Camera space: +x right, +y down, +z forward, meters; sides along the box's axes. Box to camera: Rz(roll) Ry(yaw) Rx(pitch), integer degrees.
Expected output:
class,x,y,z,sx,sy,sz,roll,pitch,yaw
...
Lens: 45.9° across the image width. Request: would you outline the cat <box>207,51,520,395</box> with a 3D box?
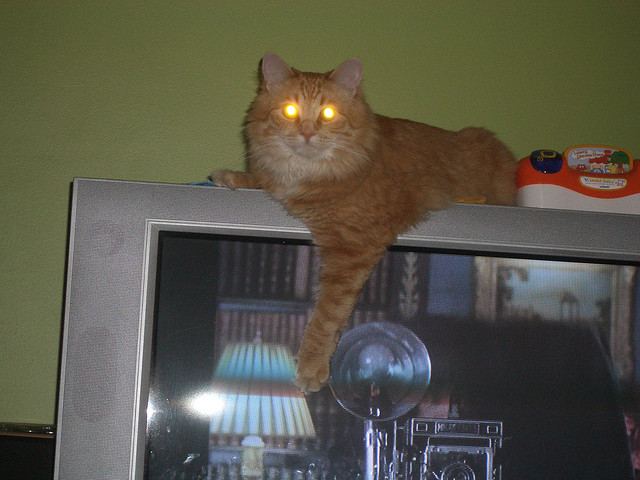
class,x,y,z,sx,sy,sz,roll,pitch,yaw
cat,0.073,-0.125,2.182,0.787,0.937,0.628,-2,9,-18
